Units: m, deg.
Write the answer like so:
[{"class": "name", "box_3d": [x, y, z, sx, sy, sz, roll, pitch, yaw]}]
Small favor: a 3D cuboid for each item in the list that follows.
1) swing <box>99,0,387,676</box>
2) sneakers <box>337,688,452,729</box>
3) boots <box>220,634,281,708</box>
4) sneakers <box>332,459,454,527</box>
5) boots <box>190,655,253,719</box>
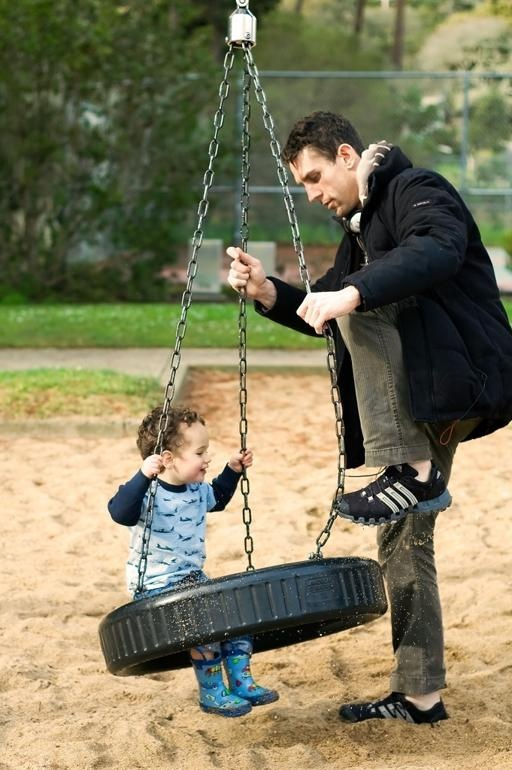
[{"class": "swing", "box_3d": [-0.030, -0.058, 3.278, 0.912, 2.233, 1.303, 2, 14, 6]}, {"class": "sneakers", "box_3d": [0.425, 0.972, 3.264, 0.336, 0.120, 0.117, 4, -16, 9]}, {"class": "boots", "box_3d": [-0.024, 0.864, 3.171, 0.184, 0.165, 0.097, -8, -6, 37]}, {"class": "sneakers", "box_3d": [0.399, 0.302, 3.118, 0.382, 0.173, 0.136, -12, 29, -4]}, {"class": "boots", "box_3d": [-0.091, 0.884, 3.131, 0.180, 0.159, 0.093, -6, -1, 37]}]
